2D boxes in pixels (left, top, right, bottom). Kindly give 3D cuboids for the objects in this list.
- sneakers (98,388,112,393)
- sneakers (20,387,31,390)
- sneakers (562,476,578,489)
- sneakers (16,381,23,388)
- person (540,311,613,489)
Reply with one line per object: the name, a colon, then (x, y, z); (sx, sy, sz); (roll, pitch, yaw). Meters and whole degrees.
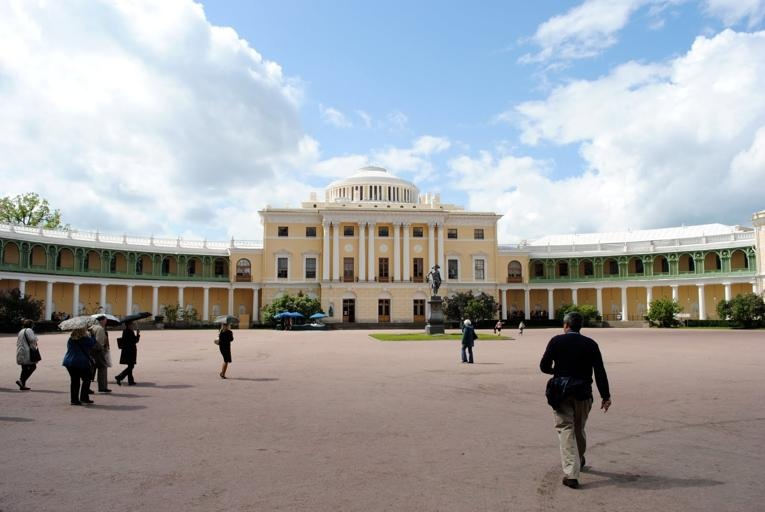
sneakers: (-7.757, 3.754, 17.837); (0.400, 0.167, 0.134); (2, -2, -2)
sneakers: (-10.036, 3.712, 17.939); (0.204, 0.101, 0.412); (4, -8, -22)
sneakers: (3.370, 4.066, 11.476); (0.137, 0.244, 0.256); (6, 3, -13)
sneakers: (-10.211, 3.601, 17.911); (0.133, 0.221, 0.437); (5, -9, -32)
person: (3.718, 2.661, 12.287); (1.208, 3.186, 1.479); (-2, -8, 19)
